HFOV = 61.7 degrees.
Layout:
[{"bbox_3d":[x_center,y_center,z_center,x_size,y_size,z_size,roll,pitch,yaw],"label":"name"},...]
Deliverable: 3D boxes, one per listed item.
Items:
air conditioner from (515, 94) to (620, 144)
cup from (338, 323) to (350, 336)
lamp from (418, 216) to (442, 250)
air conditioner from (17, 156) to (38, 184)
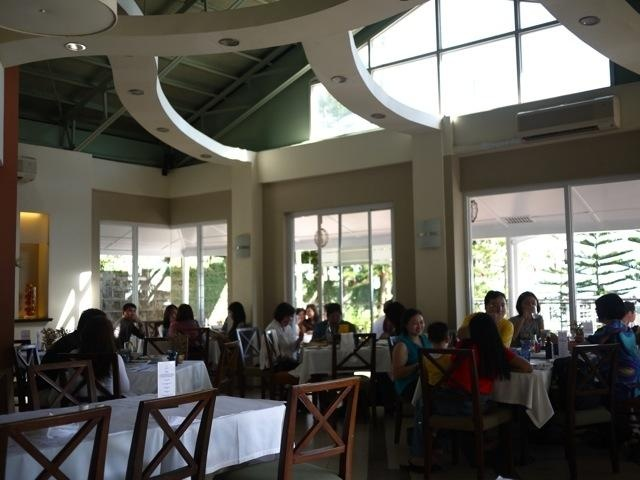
[{"bbox_3d":[3.164,-1.526,6.882,1.177,0.380,0.184,-6,-6,30],"label":"air conditioner"},{"bbox_3d":[0.314,1.165,7.038,0.143,0.164,0.088,2,4,13],"label":"cup"},{"bbox_3d":[1.557,-0.084,7.731,0.385,0.446,0.097,-1,6,-13],"label":"lamp"},{"bbox_3d":[-4.554,-1.092,8.271,0.237,0.383,0.414,1,-6,-31],"label":"air conditioner"}]
